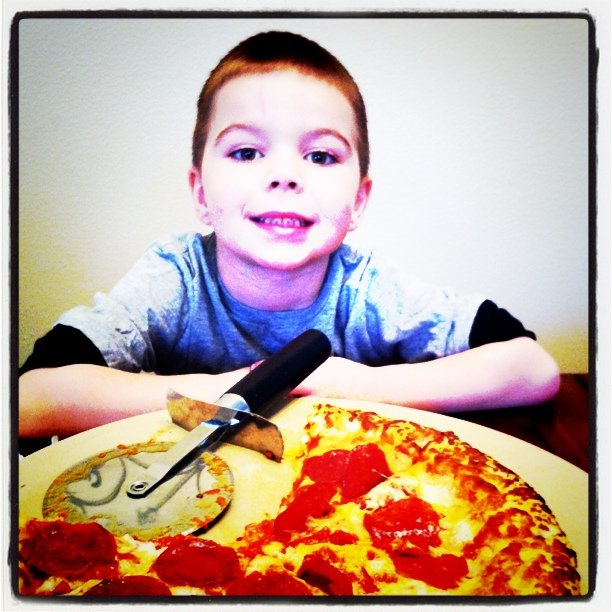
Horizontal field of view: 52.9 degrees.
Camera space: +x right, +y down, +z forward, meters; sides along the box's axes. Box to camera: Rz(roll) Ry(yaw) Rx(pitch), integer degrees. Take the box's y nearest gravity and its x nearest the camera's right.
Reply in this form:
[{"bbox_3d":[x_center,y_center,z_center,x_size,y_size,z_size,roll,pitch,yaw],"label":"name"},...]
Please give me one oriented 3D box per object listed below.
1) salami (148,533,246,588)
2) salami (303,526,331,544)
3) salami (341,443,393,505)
[{"bbox_3d":[-0.109,0.258,0.619,0.095,0.064,0.014,4,9,-9],"label":"salami"},{"bbox_3d":[0.011,0.234,0.623,0.027,0.015,0.012,5,9,1],"label":"salami"},{"bbox_3d":[0.066,0.184,0.696,0.057,0.024,0.098,-12,11,22],"label":"salami"}]
